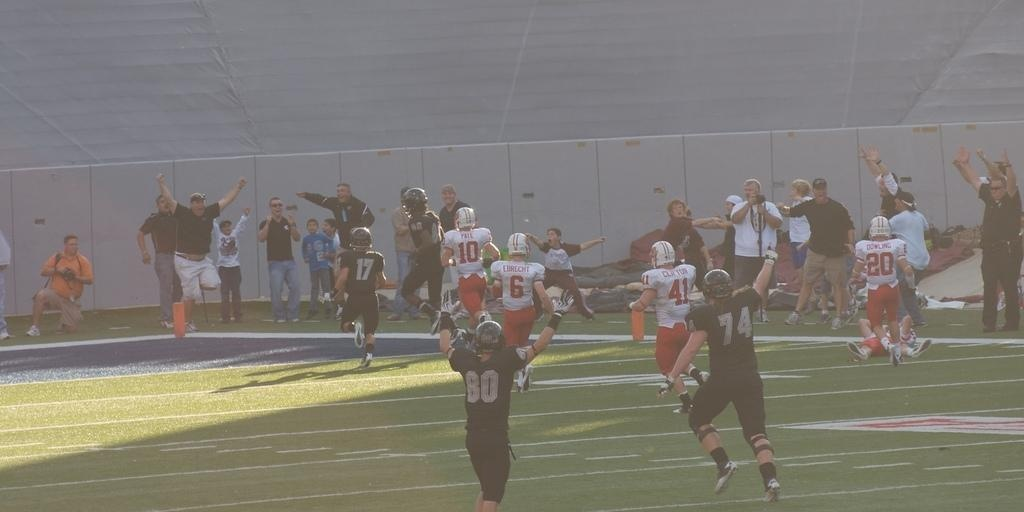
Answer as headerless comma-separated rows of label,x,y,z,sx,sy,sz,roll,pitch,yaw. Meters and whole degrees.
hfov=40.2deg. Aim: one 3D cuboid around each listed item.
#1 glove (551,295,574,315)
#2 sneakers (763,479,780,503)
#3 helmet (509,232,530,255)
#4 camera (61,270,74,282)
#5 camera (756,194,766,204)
glove,1.318,1.177,33.358,0.522,0.529,0.257,13,22,9
sneakers,6.038,5.354,32.002,0.329,0.476,0.191,-5,-2,6
helmet,0.289,-0.339,36.400,0.500,0.454,0.605,3,19,10
camera,-13.565,0.591,42.929,0.262,0.378,0.145,-47,-12,-25
camera,7.303,-1.686,40.489,0.349,0.268,0.314,1,-4,-12
